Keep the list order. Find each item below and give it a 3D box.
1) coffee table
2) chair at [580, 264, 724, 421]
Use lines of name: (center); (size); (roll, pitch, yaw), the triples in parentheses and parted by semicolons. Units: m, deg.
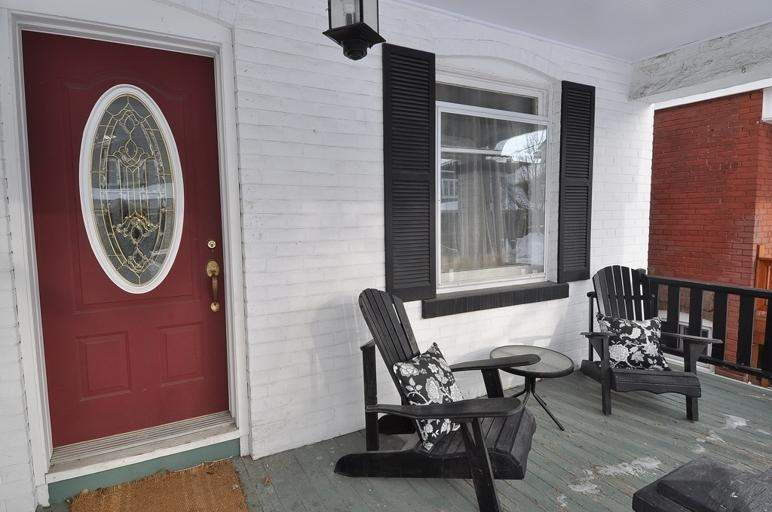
coffee table: (1.310, 1.037, 4.405); (0.754, 0.504, 0.748); (9, 20, 33)
chair: (2.332, 0.749, 4.643); (1.006, 1.233, 1.050); (0, 7, 20)
